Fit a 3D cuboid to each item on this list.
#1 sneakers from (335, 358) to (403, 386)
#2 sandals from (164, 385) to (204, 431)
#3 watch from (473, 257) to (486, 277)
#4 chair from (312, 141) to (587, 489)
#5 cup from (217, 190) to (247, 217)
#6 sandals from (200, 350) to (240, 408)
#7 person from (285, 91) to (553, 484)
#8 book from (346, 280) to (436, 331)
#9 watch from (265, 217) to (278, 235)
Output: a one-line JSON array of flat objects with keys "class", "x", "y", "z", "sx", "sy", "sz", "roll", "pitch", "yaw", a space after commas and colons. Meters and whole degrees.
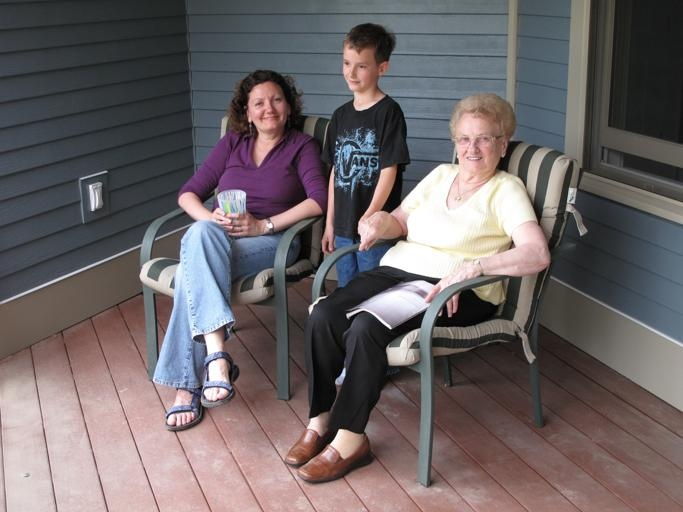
[{"class": "sneakers", "x": 0.191, "y": 0.625, "z": 2.724, "sx": 0.213, "sy": 0.081, "sz": 0.265, "roll": 0, "pitch": 1, "yaw": 19}, {"class": "sandals", "x": -0.731, "y": 0.751, "z": 2.555, "sx": 0.102, "sy": 0.122, "sz": 0.298, "roll": 0, "pitch": 2, "yaw": 15}, {"class": "watch", "x": 0.554, "y": 0.049, "z": 2.087, "sx": 0.024, "sy": 0.067, "sz": 0.051, "roll": -3, "pitch": 6, "yaw": -4}, {"class": "chair", "x": 0.330, "y": 0.088, "z": 2.839, "sx": 1.419, "sy": 1.703, "sz": 1.151, "roll": -6, "pitch": 10, "yaw": -31}, {"class": "cup", "x": -0.552, "y": -0.274, "z": 2.620, "sx": 0.121, "sy": 0.109, "sz": 0.136, "roll": -1, "pitch": 12, "yaw": 2}, {"class": "sandals", "x": -0.563, "y": 0.560, "z": 2.367, "sx": 0.112, "sy": 0.141, "sz": 0.340, "roll": -3, "pitch": 7, "yaw": 1}, {"class": "person", "x": 0.285, "y": 0.078, "z": 2.293, "sx": 1.163, "sy": 1.458, "sz": 0.673, "roll": -8, "pitch": 23, "yaw": -17}, {"class": "book", "x": 0.242, "y": 0.184, "z": 2.135, "sx": 0.246, "sy": 0.070, "sz": 0.199, "roll": -33, "pitch": 35, "yaw": -33}, {"class": "watch", "x": -0.383, "y": -0.160, "z": 2.776, "sx": 0.052, "sy": 0.077, "sz": 0.079, "roll": -3, "pitch": 18, "yaw": -28}]
